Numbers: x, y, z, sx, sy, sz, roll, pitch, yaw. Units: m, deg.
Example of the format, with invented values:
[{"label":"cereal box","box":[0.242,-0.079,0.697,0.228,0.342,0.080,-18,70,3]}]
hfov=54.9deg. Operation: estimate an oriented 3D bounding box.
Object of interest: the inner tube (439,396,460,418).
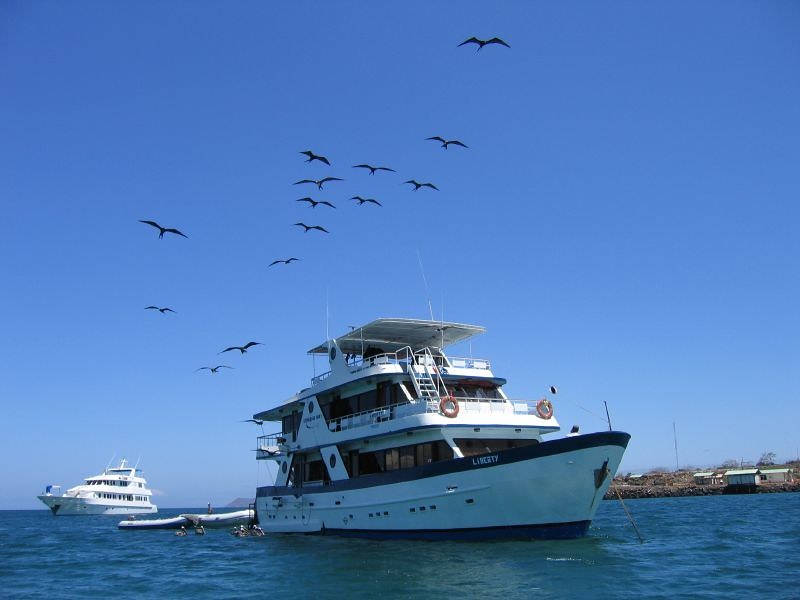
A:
[{"label":"inner tube","box":[2.529,5.184,37.788,1.110,0.882,0.267,12,-18,-22]}]

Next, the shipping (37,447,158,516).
[{"label":"shipping","box":[-37.222,23.791,96.672,11.030,6.574,5.041,4,-13,-32]}]
